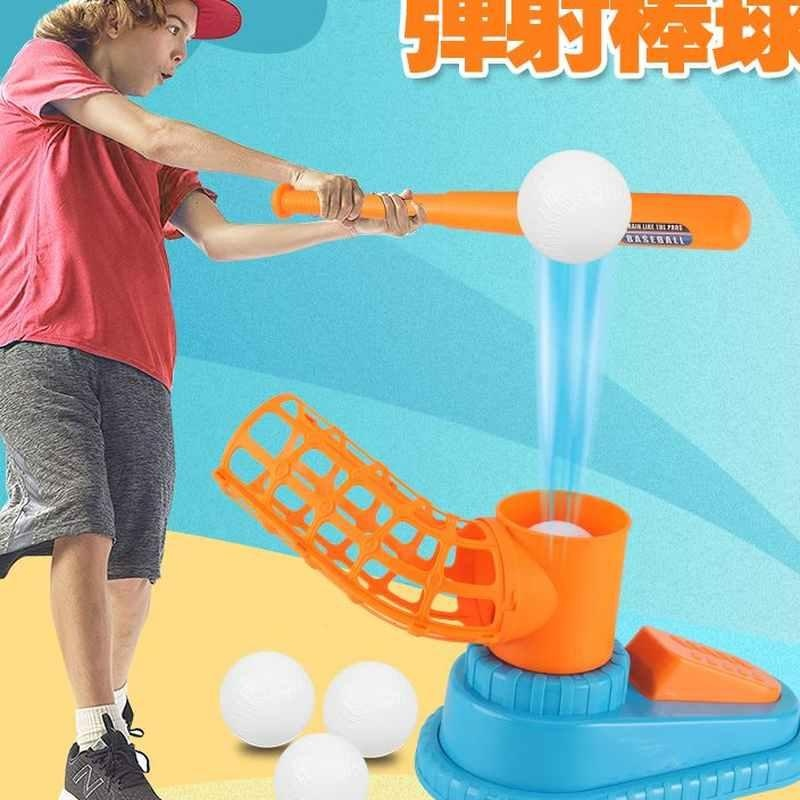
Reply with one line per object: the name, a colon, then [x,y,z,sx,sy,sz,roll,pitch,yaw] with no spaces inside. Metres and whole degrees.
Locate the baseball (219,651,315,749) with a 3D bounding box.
baseball: [-0.223,0.553,1.898,0.183,0.190,0.174,3,6,11]

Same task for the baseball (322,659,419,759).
baseball: [-0.029,0.560,1.860,0.179,0.185,0.170,2,8,10]

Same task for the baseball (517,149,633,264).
baseball: [0.254,-0.282,1.502,0.182,0.166,0.168,2,4,12]
